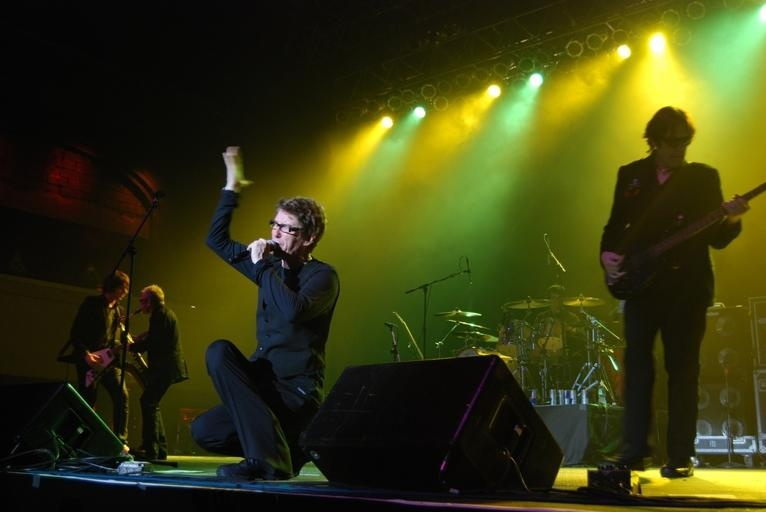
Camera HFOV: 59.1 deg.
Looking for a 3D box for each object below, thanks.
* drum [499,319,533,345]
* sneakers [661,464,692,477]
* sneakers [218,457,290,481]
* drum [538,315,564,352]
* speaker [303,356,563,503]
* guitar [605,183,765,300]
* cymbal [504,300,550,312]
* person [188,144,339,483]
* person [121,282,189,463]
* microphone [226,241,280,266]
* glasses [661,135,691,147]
[{"bbox_3d":[1.615,0.932,8.194,0.178,0.324,0.552,15,-18,-31],"label":"drum"},{"bbox_3d":[2.200,1.622,5.059,0.245,0.103,0.095,0,-9,-13],"label":"sneakers"},{"bbox_3d":[-0.809,1.317,4.241,0.402,0.171,0.154,1,-10,-5],"label":"sneakers"},{"bbox_3d":[1.971,0.933,7.936,0.334,0.421,0.235,-5,-18,33],"label":"drum"},{"bbox_3d":[0.266,1.049,4.381,1.289,0.706,1.116,-12,-9,42],"label":"speaker"},{"bbox_3d":[2.577,-0.135,5.676,1.459,0.428,0.164,-36,-29,16],"label":"guitar"},{"bbox_3d":[1.878,0.627,8.582,0.297,0.068,0.288,-3,1,-21],"label":"cymbal"},{"bbox_3d":[-0.789,0.378,4.648,0.915,2.193,0.595,7,-15,-5],"label":"person"},{"bbox_3d":[-2.429,1.201,7.261,0.568,1.853,0.853,14,-17,-28],"label":"person"},{"bbox_3d":[-0.914,-0.008,4.692,0.492,0.144,0.156,-10,-6,19],"label":"microphone"},{"bbox_3d":[2.264,-0.875,5.220,0.116,0.052,0.135,-8,-8,7],"label":"glasses"}]
